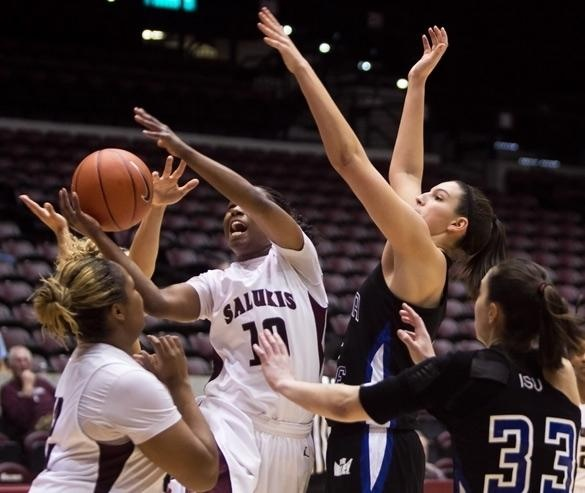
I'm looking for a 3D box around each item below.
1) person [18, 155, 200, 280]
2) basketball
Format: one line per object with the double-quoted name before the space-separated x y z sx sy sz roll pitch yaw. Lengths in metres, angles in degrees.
"person" -0.793 -0.012 3.092 0.667 0.197 0.928 -14 -38 -17
"basketball" -0.683 -0.261 2.763 0.313 0.391 0.322 -5 13 -5
